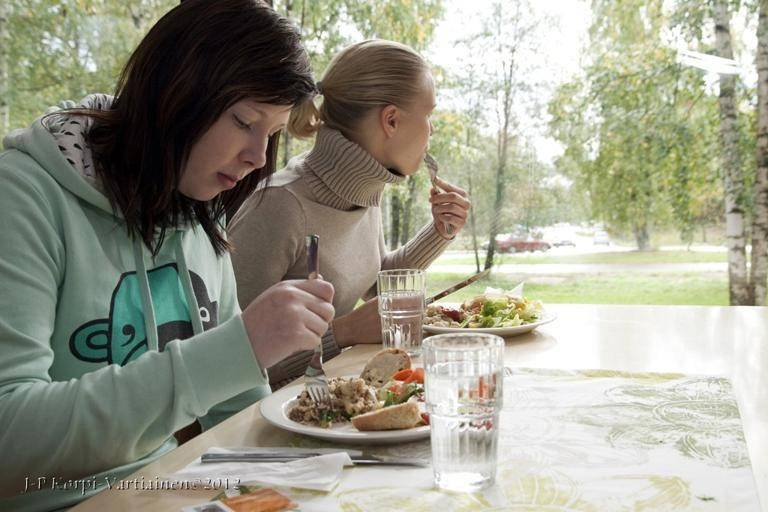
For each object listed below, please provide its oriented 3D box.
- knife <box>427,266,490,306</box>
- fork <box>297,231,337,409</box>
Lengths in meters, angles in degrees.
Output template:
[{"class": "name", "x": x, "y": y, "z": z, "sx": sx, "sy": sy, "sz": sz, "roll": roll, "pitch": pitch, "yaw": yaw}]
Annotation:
[{"class": "knife", "x": 0.527, "y": 0.201, "z": 3.975, "sx": 0.565, "sy": 0.077, "sz": 0.060, "roll": -26, "pitch": -23, "yaw": 15}, {"class": "fork", "x": -0.158, "y": 0.152, "z": 1.349, "sx": 0.062, "sy": 0.421, "sz": 0.057, "roll": 1, "pitch": 3, "yaw": 6}]
